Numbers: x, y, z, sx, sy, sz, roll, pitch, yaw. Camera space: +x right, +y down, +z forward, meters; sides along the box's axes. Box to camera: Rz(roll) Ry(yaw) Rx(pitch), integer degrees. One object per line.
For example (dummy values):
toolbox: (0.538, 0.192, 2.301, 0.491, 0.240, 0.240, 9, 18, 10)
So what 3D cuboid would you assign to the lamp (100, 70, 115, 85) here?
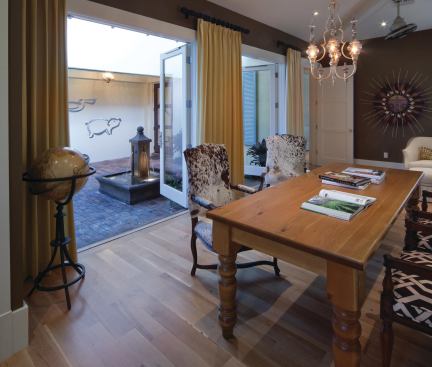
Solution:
lamp: (-2.594, -2.527, 7.530, 0.302, 0.331, 0.299, -2, 4, -43)

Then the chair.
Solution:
chair: (0.607, 0.164, 2.894, 2.247, 1.077, 2.385, -13, 20, -38)
